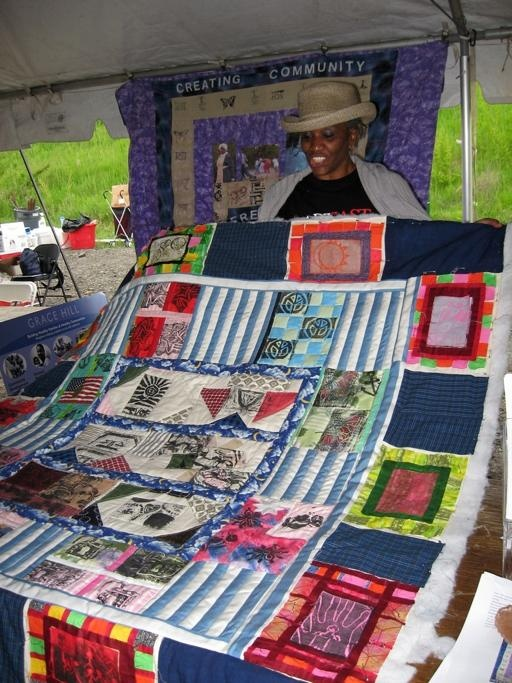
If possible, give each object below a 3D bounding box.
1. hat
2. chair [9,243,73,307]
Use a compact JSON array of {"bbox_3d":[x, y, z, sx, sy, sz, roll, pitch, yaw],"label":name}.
[{"bbox_3d":[0.368,-1.312,3.207,0.447,0.320,0.541,9,19,28],"label":"hat"},{"bbox_3d":[-2.191,-0.657,5.940,0.498,0.509,0.402,-6,10,-39],"label":"chair"}]
